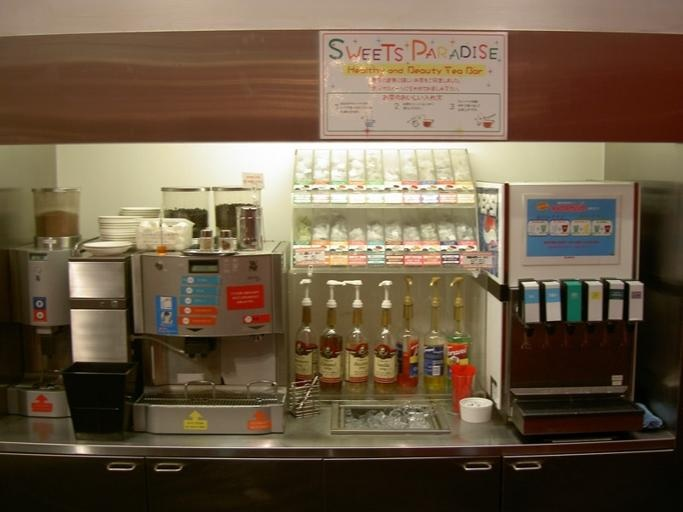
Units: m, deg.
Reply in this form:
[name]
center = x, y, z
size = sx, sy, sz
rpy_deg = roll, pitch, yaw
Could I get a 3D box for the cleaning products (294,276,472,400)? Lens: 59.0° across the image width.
[cleaning products]
center = 0.226, 0.393, 3.113
size = 0.953, 0.622, 0.426
rpy_deg = -1, 4, 2

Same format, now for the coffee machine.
[coffee machine]
center = -0.564, 0.360, 3.029
size = 0.995, 0.937, 0.821
rpy_deg = 0, 2, -1

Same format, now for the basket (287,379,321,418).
[basket]
center = -0.183, 0.689, 2.890
size = 0.221, 0.213, 0.136
rpy_deg = 0, 9, -9

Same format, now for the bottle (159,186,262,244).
[bottle]
center = -0.653, -0.256, 2.999
size = 0.585, 0.319, 0.266
rpy_deg = -1, 3, -8

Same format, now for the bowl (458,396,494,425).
[bowl]
center = 0.643, 0.725, 2.843
size = 0.170, 0.097, 0.128
rpy_deg = -1, 4, 1
